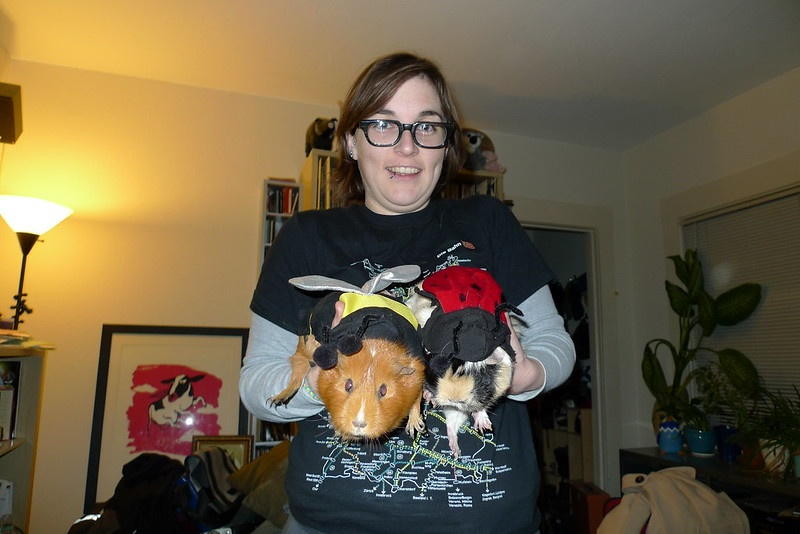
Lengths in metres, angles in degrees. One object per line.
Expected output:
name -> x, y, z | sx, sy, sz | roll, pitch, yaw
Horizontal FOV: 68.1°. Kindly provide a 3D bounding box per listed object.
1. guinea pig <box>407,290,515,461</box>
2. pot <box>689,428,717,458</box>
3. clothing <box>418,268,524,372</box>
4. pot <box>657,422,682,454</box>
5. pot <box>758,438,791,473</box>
guinea pig -> 0.219, 0.445, 1.965 | 0.249, 0.359, 0.206 | -9, -17, 39
pot -> 2.023, 1.182, 3.995 | 0.169, 0.176, 0.181 | 2, -12, 0
clothing -> 0.217, 0.166, 1.980 | 0.252, 0.366, 0.186 | -3, -27, -12
pot -> 1.877, 1.195, 4.137 | 0.160, 0.225, 0.142 | -5, 26, 10
pot -> 2.257, 1.144, 3.592 | 0.141, 0.189, 0.123 | -5, -15, 28
